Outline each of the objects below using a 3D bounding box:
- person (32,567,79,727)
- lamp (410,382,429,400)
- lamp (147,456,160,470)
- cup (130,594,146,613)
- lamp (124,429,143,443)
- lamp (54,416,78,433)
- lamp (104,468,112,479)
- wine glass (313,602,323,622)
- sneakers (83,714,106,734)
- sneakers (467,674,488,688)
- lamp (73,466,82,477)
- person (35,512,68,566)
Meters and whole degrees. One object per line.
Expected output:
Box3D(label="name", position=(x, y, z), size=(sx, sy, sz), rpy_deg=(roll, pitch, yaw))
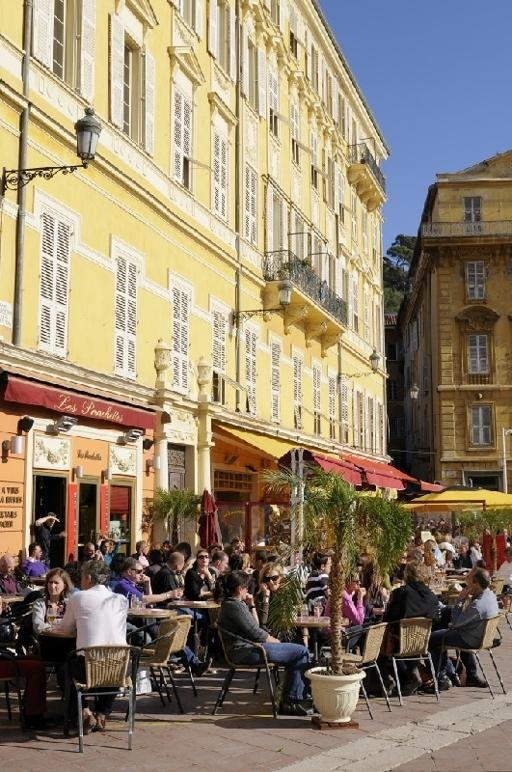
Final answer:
Box3D(label="person", position=(-1.808, 2.320, 8.240), size=(0.383, 1.321, 0.408), rpy_deg=(-1, -10, 39))
Box3D(label="lamp", position=(8.489, 0.315, 49.180), size=(0.846, 1.215, 0.846), rpy_deg=(0, -7, 3))
Box3D(label="lamp", position=(-1.788, 1.398, 16.527), size=(0.204, 0.245, 0.247), rpy_deg=(-5, -12, 18))
Box3D(label="cup", position=(-1.180, 2.181, 9.416), size=(0.172, 0.184, 0.168), rpy_deg=(-1, -8, 0))
Box3D(label="lamp", position=(-2.068, 0.838, 15.686), size=(0.180, 0.120, 0.252), rpy_deg=(5, -27, -30))
Box3D(label="lamp", position=(-2.712, 0.549, 13.390), size=(0.176, 0.138, 0.234), rpy_deg=(14, -53, -44))
Box3D(label="lamp", position=(-2.332, 1.404, 14.935), size=(0.125, 0.155, 0.132), rpy_deg=(0, -12, -3))
Box3D(label="wine glass", position=(0.605, 2.242, 9.260), size=(0.105, 0.153, 0.110), rpy_deg=(-3, -4, 23))
Box3D(label="sneakers", position=(-1.203, 2.522, 7.011), size=(0.081, 0.105, 0.234), rpy_deg=(1, -12, -3))
Box3D(label="sneakers", position=(2.221, 3.000, 9.498), size=(0.080, 0.101, 0.222), rpy_deg=(4, -15, -28))
Box3D(label="lamp", position=(-2.626, 1.298, 13.982), size=(0.087, 0.164, 0.153), rpy_deg=(1, -6, -18))
Box3D(label="person", position=(-2.850, 2.168, 13.110), size=(0.320, 1.106, 0.746), rpy_deg=(-4, -9, 5))
